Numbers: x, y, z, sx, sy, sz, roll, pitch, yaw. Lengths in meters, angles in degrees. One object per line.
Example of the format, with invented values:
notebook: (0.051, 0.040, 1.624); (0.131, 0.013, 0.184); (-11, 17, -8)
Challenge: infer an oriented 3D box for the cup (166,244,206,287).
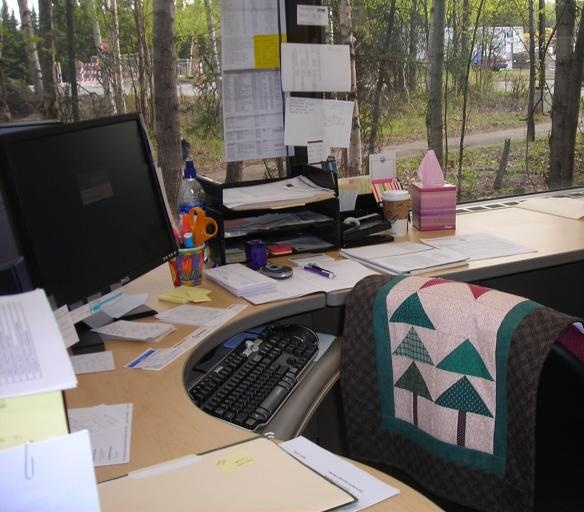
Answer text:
cup: (-0.326, 0.029, 1.515); (0.105, 0.125, 0.120); (-2, 8, -3)

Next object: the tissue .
tissue : (0.595, -0.252, 2.042); (0.153, 0.362, 0.153); (-1, 18, -12)

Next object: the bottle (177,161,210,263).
bottle: (-0.359, -0.150, 1.687); (0.113, 0.347, 0.119); (4, 17, -1)

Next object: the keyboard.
keyboard: (-0.080, 0.275, 1.122); (0.183, 0.066, 0.362); (11, 24, 22)

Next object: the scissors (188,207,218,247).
scissors: (-0.290, -0.094, 1.573); (0.092, 0.111, 0.012); (34, 34, 29)
